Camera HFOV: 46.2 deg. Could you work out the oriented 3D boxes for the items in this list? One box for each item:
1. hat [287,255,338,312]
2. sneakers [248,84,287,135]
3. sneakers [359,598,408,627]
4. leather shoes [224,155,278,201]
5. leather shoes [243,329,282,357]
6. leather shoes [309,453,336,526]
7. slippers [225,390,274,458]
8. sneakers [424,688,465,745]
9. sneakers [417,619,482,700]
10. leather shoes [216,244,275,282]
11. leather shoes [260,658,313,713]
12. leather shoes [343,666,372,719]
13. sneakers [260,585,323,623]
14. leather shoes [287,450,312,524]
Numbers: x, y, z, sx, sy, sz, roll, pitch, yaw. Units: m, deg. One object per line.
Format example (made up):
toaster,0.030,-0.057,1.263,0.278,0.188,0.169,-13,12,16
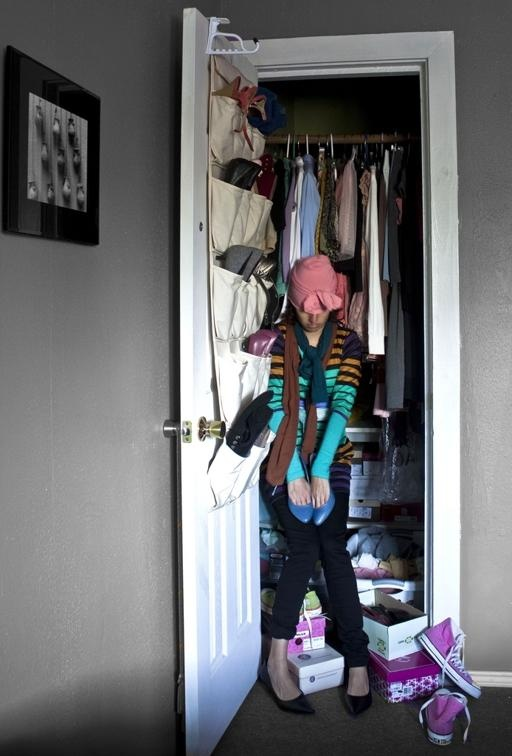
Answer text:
hat,0.204,-0.316,2.099,0.126,0.222,0.132,-2,-40,4
sneakers,0.037,-0.827,1.870,0.045,0.185,0.125,11,24,31
sneakers,0.469,0.860,2.186,0.082,0.050,0.116,2,-1,-30
leather shoes,-0.018,-0.591,1.761,0.124,0.120,0.219,11,23,-21
leather shoes,0.018,-0.106,1.898,0.059,0.085,0.154,2,5,34
leather shoes,0.226,0.395,2.066,0.064,0.234,0.041,-10,-17,42
slippers,-0.016,0.093,1.600,0.074,0.195,0.091,12,-9,46
sneakers,0.556,0.996,1.774,0.067,0.094,0.188,2,-8,4
sneakers,0.646,0.933,2.005,0.228,0.259,0.140,-1,3,-9
leather shoes,-0.032,-0.312,1.703,0.073,0.088,0.220,5,-3,23
leather shoes,0.095,1.035,1.988,0.070,0.066,0.225,3,8,-25
leather shoes,0.326,1.016,1.945,0.046,0.056,0.164,-2,8,3
sneakers,0.139,0.786,2.167,0.101,0.136,0.265,2,-8,-18
leather shoes,0.154,0.376,2.093,0.061,0.245,0.057,-7,3,9
